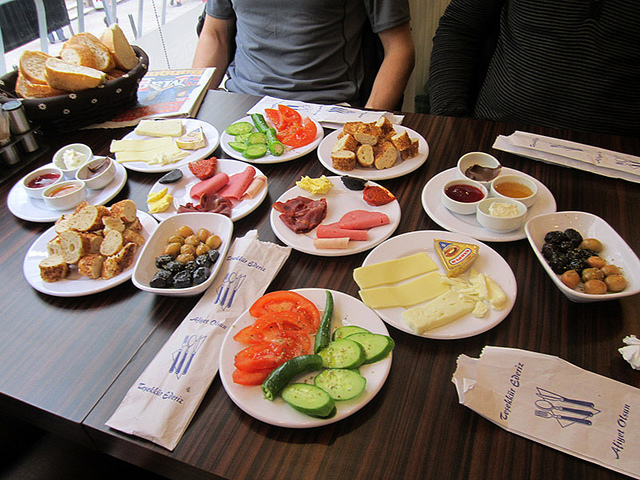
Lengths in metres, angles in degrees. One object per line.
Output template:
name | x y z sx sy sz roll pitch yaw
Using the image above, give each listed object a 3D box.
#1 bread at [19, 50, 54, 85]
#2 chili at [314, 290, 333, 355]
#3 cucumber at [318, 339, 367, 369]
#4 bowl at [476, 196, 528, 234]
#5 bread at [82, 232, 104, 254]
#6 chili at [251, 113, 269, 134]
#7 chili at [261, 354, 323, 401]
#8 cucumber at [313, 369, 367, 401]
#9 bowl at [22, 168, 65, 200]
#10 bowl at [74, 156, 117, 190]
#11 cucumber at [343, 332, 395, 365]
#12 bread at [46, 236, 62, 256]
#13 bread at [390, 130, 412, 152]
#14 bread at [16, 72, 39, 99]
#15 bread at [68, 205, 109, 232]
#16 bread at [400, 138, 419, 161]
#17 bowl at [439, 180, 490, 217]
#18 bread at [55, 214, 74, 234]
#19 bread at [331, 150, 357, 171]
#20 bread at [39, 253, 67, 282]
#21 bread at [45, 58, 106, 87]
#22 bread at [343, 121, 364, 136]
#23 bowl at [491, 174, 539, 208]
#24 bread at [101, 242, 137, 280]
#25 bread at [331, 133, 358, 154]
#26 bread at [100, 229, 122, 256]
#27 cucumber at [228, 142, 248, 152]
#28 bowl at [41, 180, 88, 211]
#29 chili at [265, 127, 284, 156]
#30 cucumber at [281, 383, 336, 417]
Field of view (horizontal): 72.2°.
bread | -1.537 -0.938 2.333 0.045 0.185 0.189 -20 35 -7
chili | 0.020 0.269 1.459 0.047 0.039 0.266 -4 40 13
cucumber | 0.070 0.353 1.359 0.148 0.045 0.096 1 53 2
bowl | 0.704 -0.108 1.701 0.157 0.082 0.158 -4 43 3
bread | -0.898 0.015 1.732 0.040 0.074 0.074 -4 9 -3
chili | -0.319 -0.621 2.331 0.055 0.044 0.170 -21 44 1
chili | -0.077 0.400 1.331 0.194 0.054 0.083 -26 30 -21
cucumber | 0.052 0.429 1.308 0.140 0.019 0.102 10 42 11
bowl | -1.304 -0.270 2.084 0.162 0.088 0.162 3 48 -3
bowl | -1.057 -0.318 2.078 0.160 0.094 0.161 -3 49 4
cucumber | 0.164 0.324 1.361 0.112 0.026 0.085 -4 42 8
bread | -1.042 0.026 1.722 0.032 0.055 0.057 -27 87 -44
bread | 0.377 -0.456 2.085 0.092 0.092 0.093 -25 30 9
bread | -1.594 -0.818 2.371 0.133 0.151 0.032 14 18 25
bread | -0.934 -0.076 1.798 0.138 0.037 0.100 -45 73 -1
bread | 0.436 -0.424 2.058 0.099 0.083 0.080 9 36 28
bowl | 0.588 -0.188 1.762 0.165 0.080 0.165 -2 42 1
bread | -1.058 -0.062 1.833 0.079 0.033 0.093 -2 45 -4
bread | 0.111 -0.378 2.048 0.094 0.056 0.095 6 34 19
bread | -1.014 0.106 1.675 0.079 0.041 0.105 -1 40 -7
bread | -1.291 -0.895 2.295 0.226 0.154 0.274 20 36 33
bread | 0.153 -0.540 2.111 0.078 0.027 0.076 21 72 34
bowl | 0.799 -0.211 1.790 0.151 0.060 0.154 -2 46 2
bread | -0.768 0.083 1.677 0.088 0.045 0.154 39 89 17
bread | 0.113 -0.459 2.103 0.099 0.035 0.104 -11 35 37
bread | -0.816 0.012 1.718 0.092 0.025 0.099 -22 52 17
cucumber | -0.411 -0.471 2.213 0.087 0.025 0.051 26 40 31
bowl | -1.140 -0.206 1.967 0.151 0.078 0.152 0 43 0
chili | -0.227 -0.492 2.188 0.061 0.056 0.181 -16 34 -5
cucumber | -0.038 0.456 1.274 0.166 0.048 0.083 16 55 13
